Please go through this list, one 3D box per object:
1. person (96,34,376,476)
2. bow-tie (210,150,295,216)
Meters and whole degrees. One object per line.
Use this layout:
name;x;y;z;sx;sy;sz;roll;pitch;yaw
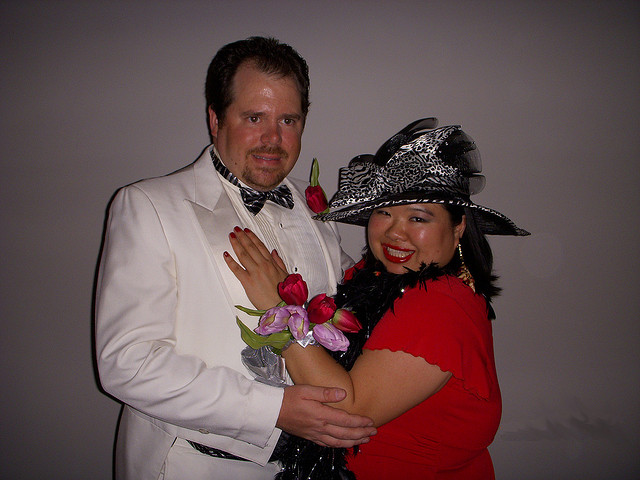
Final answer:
person;-0.394;0.079;2.722;1.054;1.957;0.740;2;5;-17
bow-tie;-0.319;-0.299;2.983;0.367;0.306;0.304;0;15;-13
